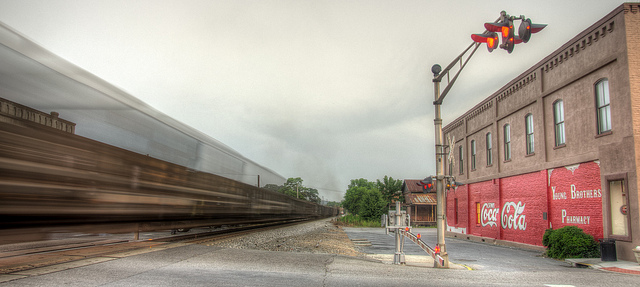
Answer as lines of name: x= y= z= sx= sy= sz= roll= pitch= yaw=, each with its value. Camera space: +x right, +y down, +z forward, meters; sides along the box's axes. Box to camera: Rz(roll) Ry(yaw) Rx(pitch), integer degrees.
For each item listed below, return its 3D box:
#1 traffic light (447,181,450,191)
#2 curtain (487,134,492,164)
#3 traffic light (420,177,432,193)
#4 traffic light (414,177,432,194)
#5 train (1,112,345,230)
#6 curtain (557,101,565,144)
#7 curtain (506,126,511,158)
traffic light: x=6.497 y=2.081 z=17.720 sx=0.105 sy=0.267 sz=0.294 roll=6 pitch=-17 yaw=7
curtain: x=14.424 y=0.459 z=29.801 sx=0.240 sy=2.519 sz=0.616 roll=5 pitch=-3 yaw=5
traffic light: x=5.238 y=1.994 z=17.117 sx=0.680 sy=0.710 sz=0.286 roll=7 pitch=-4 yaw=-33
traffic light: x=5.062 y=2.015 z=17.200 sx=0.717 sy=0.750 sz=0.961 roll=2 pitch=-5 yaw=40
train: x=-2.291 y=3.835 z=23.284 sx=3.321 sy=2.978 sz=30.053 roll=-4 pitch=-13 yaw=29
curtain: x=15.616 y=-1.361 z=22.661 sx=0.330 sy=2.734 sz=0.537 roll=5 pitch=-3 yaw=9
curtain: x=14.781 y=-0.132 z=27.440 sx=0.298 sy=2.473 sz=0.675 roll=5 pitch=-3 yaw=11
